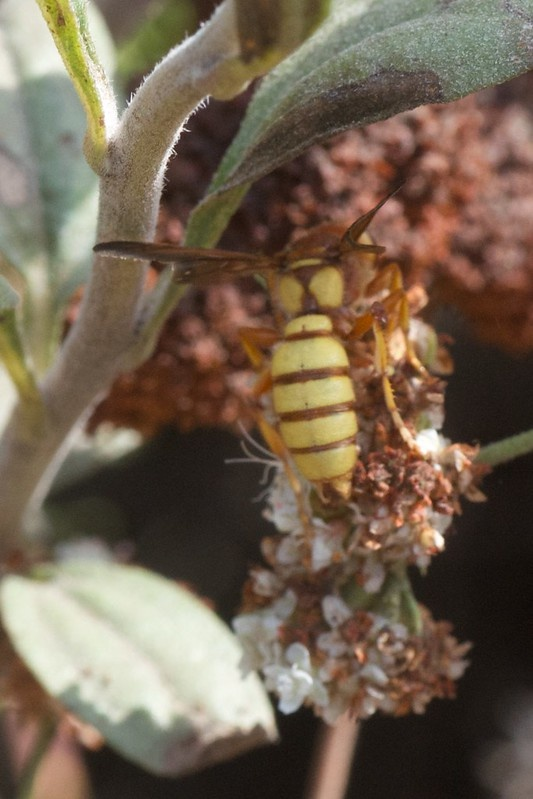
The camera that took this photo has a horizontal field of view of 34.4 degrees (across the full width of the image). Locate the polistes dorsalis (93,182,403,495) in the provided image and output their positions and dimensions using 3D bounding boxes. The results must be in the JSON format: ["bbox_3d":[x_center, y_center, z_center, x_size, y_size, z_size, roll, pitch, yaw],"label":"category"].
[{"bbox_3d":[0.009,-0.049,0.697,0.308,0.140,0.204,-7,-66,9],"label":"polistes dorsalis"}]
